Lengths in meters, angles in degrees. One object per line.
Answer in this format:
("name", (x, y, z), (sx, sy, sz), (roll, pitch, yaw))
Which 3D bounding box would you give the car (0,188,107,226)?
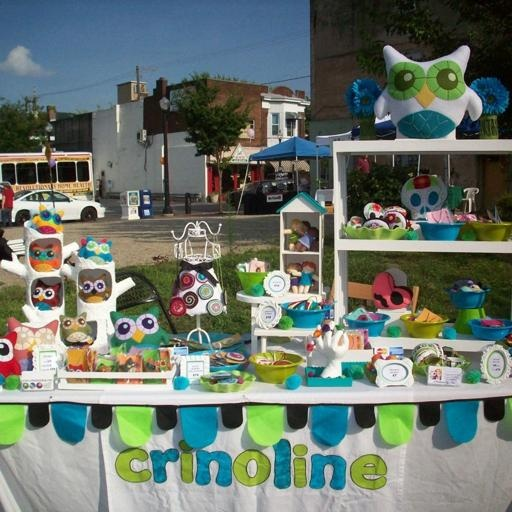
("car", (-4.741, -1.145, 16.851), (2.227, 0.841, 1.016), (-10, 12, -42))

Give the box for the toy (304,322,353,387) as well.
("toy", (0.382, 0.500, 3.788), (0.211, 0.376, 0.262), (0, 3, 2))

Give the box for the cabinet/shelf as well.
("cabinet/shelf", (1.343, -0.071, 6.045), (1.780, 2.298, 0.654), (0, 5, 3))

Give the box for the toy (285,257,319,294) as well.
("toy", (0.309, 0.140, 4.781), (0.172, 0.097, 0.252), (-1, 45, 14))

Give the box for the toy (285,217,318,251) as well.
("toy", (0.307, -0.142, 4.827), (0.236, 0.209, 0.169), (0, 6, 13))

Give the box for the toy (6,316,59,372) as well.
("toy", (-1.188, 0.481, 3.876), (0.192, 0.257, 0.092), (2, -19, -43))

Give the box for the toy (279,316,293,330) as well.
("toy", (0.167, 0.387, 4.181), (0.089, 0.078, 0.105), (0, 7, 7))

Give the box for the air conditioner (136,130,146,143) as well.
("air conditioner", (-6.217, -6.557, 39.652), (0.341, 0.776, 0.695), (1, -4, -22))

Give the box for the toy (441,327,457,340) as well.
("toy", (1.067, 0.429, 4.012), (0.078, 0.055, 0.099), (1, 7, 16))

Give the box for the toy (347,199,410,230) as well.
("toy", (0.716, -0.219, 4.262), (0.249, 0.142, 0.213), (2, 6, 25))

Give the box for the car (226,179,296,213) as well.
("car", (0.280, -1.807, 22.370), (2.003, 0.789, 1.316), (-7, 9, -30))

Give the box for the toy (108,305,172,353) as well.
("toy", (-0.646, 0.429, 4.088), (0.338, 0.348, 0.177), (-3, -18, -22))

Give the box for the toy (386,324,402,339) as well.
("toy", (0.783, 0.430, 4.099), (0.057, 0.046, 0.063), (-6, 10, 30))

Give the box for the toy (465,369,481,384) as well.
("toy", (1.097, 0.600, 3.677), (0.058, 0.076, 0.066), (-15, 0, -2))

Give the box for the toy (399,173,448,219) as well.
("toy", (1.042, -0.388, 4.518), (0.205, 0.306, 0.268), (-16, -1, 19))
